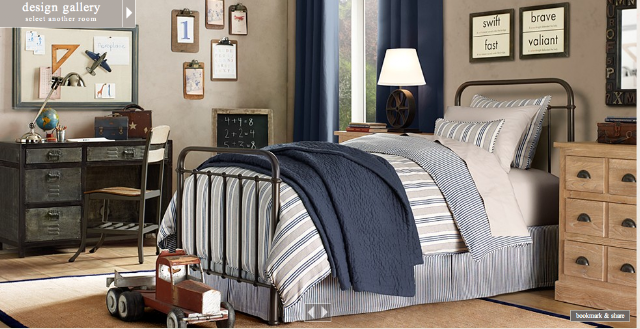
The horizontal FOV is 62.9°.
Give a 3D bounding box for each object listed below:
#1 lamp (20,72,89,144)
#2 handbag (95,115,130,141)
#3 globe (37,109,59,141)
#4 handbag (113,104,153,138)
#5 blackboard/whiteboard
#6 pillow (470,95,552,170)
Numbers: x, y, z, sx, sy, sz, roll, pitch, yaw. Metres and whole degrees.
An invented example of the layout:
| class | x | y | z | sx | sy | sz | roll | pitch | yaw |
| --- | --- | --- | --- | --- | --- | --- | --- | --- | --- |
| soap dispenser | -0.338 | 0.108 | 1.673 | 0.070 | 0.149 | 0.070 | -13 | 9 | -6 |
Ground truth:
| class | x | y | z | sx | sy | sz | roll | pitch | yaw |
| --- | --- | --- | --- | --- | --- | --- | --- | --- | --- |
| lamp | -2.868 | -0.620 | 5.625 | 0.689 | 0.695 | 0.640 | -6 | 15 | -21 |
| handbag | -2.295 | -0.390 | 5.856 | 0.464 | 0.287 | 0.258 | 0 | -3 | -8 |
| globe | -3.016 | -0.435 | 5.761 | 0.262 | 0.301 | 0.230 | 5 | 22 | 16 |
| handbag | -2.127 | -0.472 | 5.909 | 0.555 | 0.419 | 0.313 | 0 | -1 | -20 |
| blackboard/whiteboard | -0.878 | -0.356 | 5.872 | 0.812 | 0.557 | 0.073 | 1 | 0 | -7 |
| pillow | 1.841 | -0.320 | 4.785 | 0.234 | 0.663 | 0.762 | 24 | -12 | -35 |
